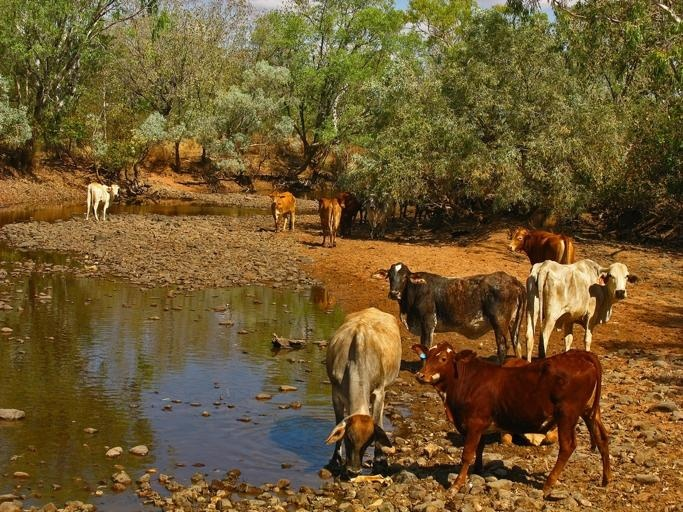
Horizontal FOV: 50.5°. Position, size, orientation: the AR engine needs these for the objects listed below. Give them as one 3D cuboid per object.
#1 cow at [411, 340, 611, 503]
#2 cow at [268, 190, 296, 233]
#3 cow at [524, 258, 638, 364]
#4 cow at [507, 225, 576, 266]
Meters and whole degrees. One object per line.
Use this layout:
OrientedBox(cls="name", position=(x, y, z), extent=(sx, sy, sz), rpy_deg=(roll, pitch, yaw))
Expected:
OrientedBox(cls="cow", position=(2.616, 2.462, 10.993), extent=(2.771, 2.252, 0.897), rpy_deg=(4, 3, 17))
OrientedBox(cls="cow", position=(-2.729, -2.189, 33.769), extent=(0.850, 1.799, 3.003), rpy_deg=(5, 4, 12))
OrientedBox(cls="cow", position=(5.051, 1.156, 15.563), extent=(2.631, 2.254, 1.103), rpy_deg=(2, 3, -31))
OrientedBox(cls="cow", position=(5.419, -0.151, 19.773), extent=(0.546, 0.990, 1.790), rpy_deg=(-7, 10, -35))
